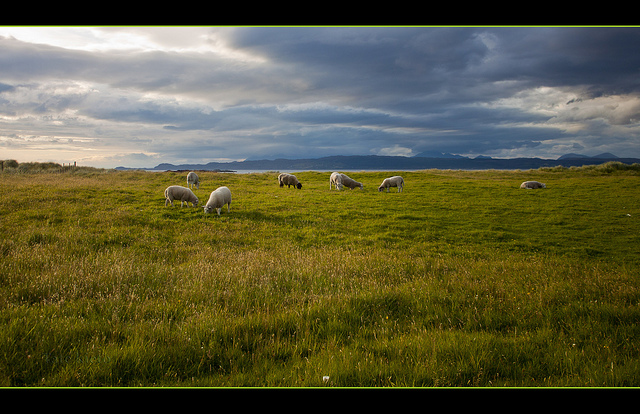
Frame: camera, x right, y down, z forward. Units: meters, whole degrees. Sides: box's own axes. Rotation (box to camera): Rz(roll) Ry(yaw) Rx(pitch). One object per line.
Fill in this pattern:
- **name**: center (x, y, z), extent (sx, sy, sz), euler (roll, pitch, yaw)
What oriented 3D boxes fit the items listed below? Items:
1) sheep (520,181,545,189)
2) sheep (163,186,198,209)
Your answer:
- **sheep**: center (22.323, -2.274, 50.608), extent (2.266, 0.697, 0.850), euler (0, 0, -1)
- **sheep**: center (-9.245, -0.664, 31.772), extent (1.964, 1.395, 1.608), euler (-3, 10, -30)
